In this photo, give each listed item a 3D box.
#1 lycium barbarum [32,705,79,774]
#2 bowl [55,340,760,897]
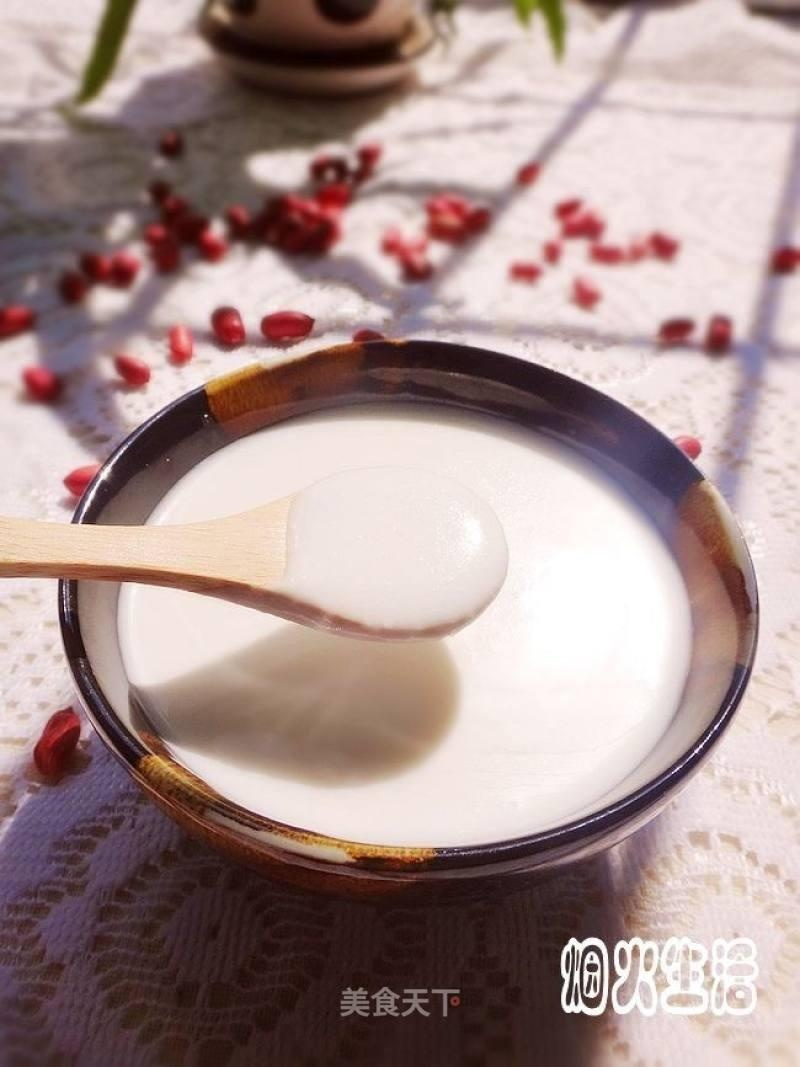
[{"bbox_3d":[-0.246,0.150,0.789,0.016,0.028,0.041,-25,45,42],"label":"lycium barbarum"},{"bbox_3d":[0.030,0.034,0.748,0.428,0.131,0.379,23,43,5],"label":"bowl"}]
